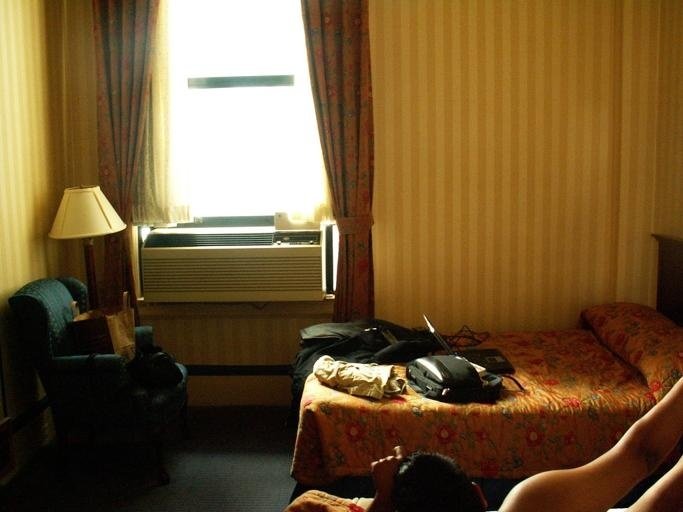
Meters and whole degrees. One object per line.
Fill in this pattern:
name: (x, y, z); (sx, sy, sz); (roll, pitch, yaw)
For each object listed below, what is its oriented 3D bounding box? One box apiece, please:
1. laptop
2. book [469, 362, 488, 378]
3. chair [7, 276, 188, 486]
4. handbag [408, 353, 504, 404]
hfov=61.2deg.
laptop: (0.685, 0.505, 3.306); (0.210, 0.262, 0.676); (-2, 0, -15)
book: (0.684, 0.565, 2.904); (0.082, 0.019, 0.078); (-6, 20, -32)
chair: (-1.504, 0.594, 3.654); (1.106, 1.314, 1.020); (-3, 9, -4)
handbag: (0.521, 0.562, 2.869); (0.248, 0.109, 0.317); (-2, 8, -21)
